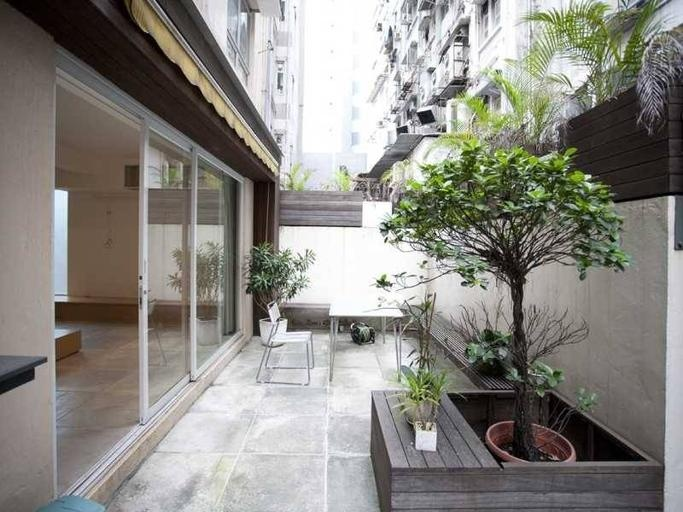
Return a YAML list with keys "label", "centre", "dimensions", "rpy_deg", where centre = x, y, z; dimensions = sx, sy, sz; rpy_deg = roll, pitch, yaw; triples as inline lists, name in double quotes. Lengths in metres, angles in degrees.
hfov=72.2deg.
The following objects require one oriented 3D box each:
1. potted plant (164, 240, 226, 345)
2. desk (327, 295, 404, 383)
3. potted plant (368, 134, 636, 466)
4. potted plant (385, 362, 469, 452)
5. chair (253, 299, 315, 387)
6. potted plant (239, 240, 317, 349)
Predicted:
- label: "potted plant"
  centre: [-1.613, 0.476, 5.381]
  dimensions: [0.458, 1.138, 0.601]
  rpy_deg: [-7, -3, 22]
- label: "desk"
  centre: [0.297, 0.732, 6.027]
  dimensions: [0.855, 0.789, 1.526]
  rpy_deg: [0, 1, -1]
- label: "potted plant"
  centre: [1.046, 0.314, 3.046]
  dimensions: [1.364, 2.106, 0.695]
  rpy_deg: [1, 7, 6]
- label: "potted plant"
  centre: [0.569, 1.024, 3.199]
  dimensions: [0.419, 0.338, 0.458]
  rpy_deg: [1, -6, 2]
- label: "chair"
  centre: [-0.681, 1.041, 5.654]
  dimensions: [0.677, 0.881, 0.667]
  rpy_deg: [0, 2, 11]
- label: "potted plant"
  centre: [-1.014, 0.506, 7.107]
  dimensions: [1.233, 1.808, 1.303]
  rpy_deg: [1, -1, -13]
